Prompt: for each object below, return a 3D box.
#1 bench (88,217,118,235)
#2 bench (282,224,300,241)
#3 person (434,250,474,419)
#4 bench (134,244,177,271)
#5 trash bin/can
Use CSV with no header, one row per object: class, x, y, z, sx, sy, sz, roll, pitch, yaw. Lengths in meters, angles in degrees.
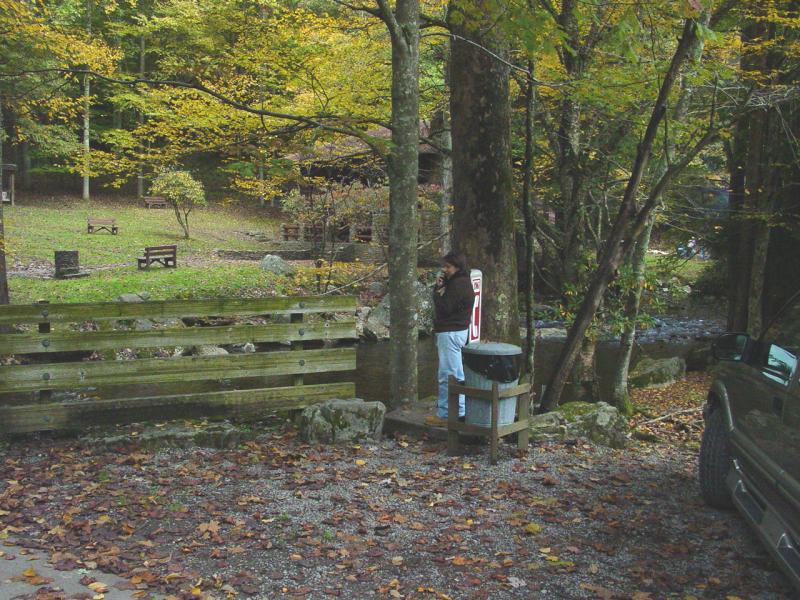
bench,-12.400,-3.022,32.049,1.251,0.642,0.497,1,15,-33
bench,-4.924,-3.052,35.368,0.831,0.726,0.746,0,8,4
person,0.761,0.545,11.510,0.418,2.467,0.487,7,8,39
bench,-8.087,-1.368,25.541,0.559,0.745,1.255,23,22,39
trash bin/can,1.236,1.177,11.142,1.267,1.376,1.039,1,-3,-3
